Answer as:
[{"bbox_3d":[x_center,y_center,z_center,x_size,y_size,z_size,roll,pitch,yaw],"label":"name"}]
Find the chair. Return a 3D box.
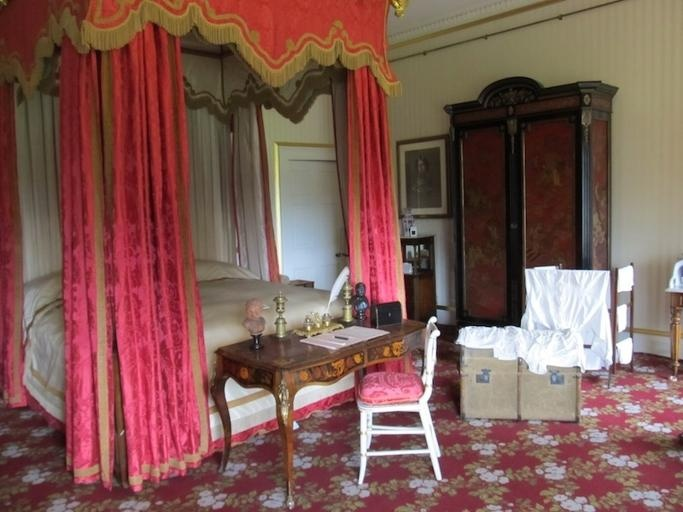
[{"bbox_3d":[0.407,1.041,4.620,0.865,1.512,0.924,1,0,1],"label":"chair"}]

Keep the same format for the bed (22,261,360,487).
[{"bbox_3d":[-1.691,0.718,4.750,2.025,0.689,1.525,5,9,43],"label":"bed"}]

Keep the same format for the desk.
[{"bbox_3d":[-0.156,1.065,4.194,1.398,0.979,0.702,-5,5,-32],"label":"desk"}]
